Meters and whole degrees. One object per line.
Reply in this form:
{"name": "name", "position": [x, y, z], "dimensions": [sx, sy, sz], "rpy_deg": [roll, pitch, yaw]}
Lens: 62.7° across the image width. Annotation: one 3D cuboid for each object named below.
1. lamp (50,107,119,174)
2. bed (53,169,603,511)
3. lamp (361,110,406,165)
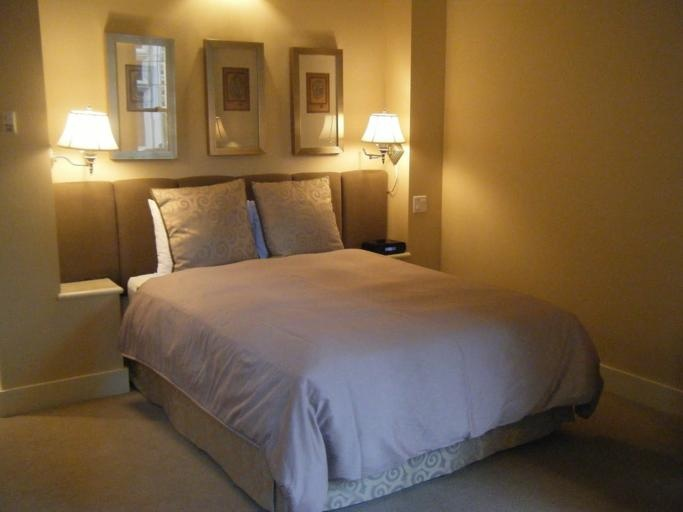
{"name": "lamp", "position": [-1.833, -0.800, 3.939], "dimensions": [0.414, 0.457, 0.362], "rpy_deg": [1, 11, -2]}
{"name": "bed", "position": [-0.370, 0.438, 3.605], "dimensions": [2.032, 1.253, 2.560], "rpy_deg": [-7, 12, -33]}
{"name": "lamp", "position": [0.353, -1.015, 4.931], "dimensions": [0.349, 0.442, 0.497], "rpy_deg": [-9, 16, -34]}
